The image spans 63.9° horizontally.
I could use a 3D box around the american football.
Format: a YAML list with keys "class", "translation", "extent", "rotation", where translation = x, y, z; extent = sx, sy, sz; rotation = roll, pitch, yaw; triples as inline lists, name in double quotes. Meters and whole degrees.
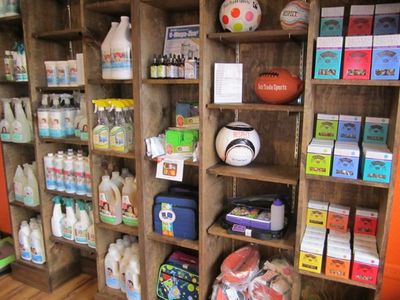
- class: "american football"
  translation: [0.518, -0.416, 2.140]
  extent: [0.284, 0.205, 0.174]
  rotation: [5, 59, 31]

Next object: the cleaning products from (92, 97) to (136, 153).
- class: "cleaning products"
  translation: [-0.686, -0.183, 2.524]
  extent: [0.405, 0.484, 0.173]
  rotation: [4, 8, 14]

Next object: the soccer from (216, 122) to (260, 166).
- class: "soccer"
  translation: [0.292, -0.031, 2.346]
  extent: [0.316, 0.320, 0.297]
  rotation: [-6, 51, 16]

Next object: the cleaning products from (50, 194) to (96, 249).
- class: "cleaning products"
  translation: [-1.145, 0.639, 2.907]
  extent: [0.505, 0.512, 0.198]
  rotation: [4, 9, 18]

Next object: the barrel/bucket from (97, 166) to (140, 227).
- class: "barrel/bucket"
  translation: [-0.680, 0.406, 2.636]
  extent: [0.516, 0.521, 0.201]
  rotation: [0, 1, 27]
